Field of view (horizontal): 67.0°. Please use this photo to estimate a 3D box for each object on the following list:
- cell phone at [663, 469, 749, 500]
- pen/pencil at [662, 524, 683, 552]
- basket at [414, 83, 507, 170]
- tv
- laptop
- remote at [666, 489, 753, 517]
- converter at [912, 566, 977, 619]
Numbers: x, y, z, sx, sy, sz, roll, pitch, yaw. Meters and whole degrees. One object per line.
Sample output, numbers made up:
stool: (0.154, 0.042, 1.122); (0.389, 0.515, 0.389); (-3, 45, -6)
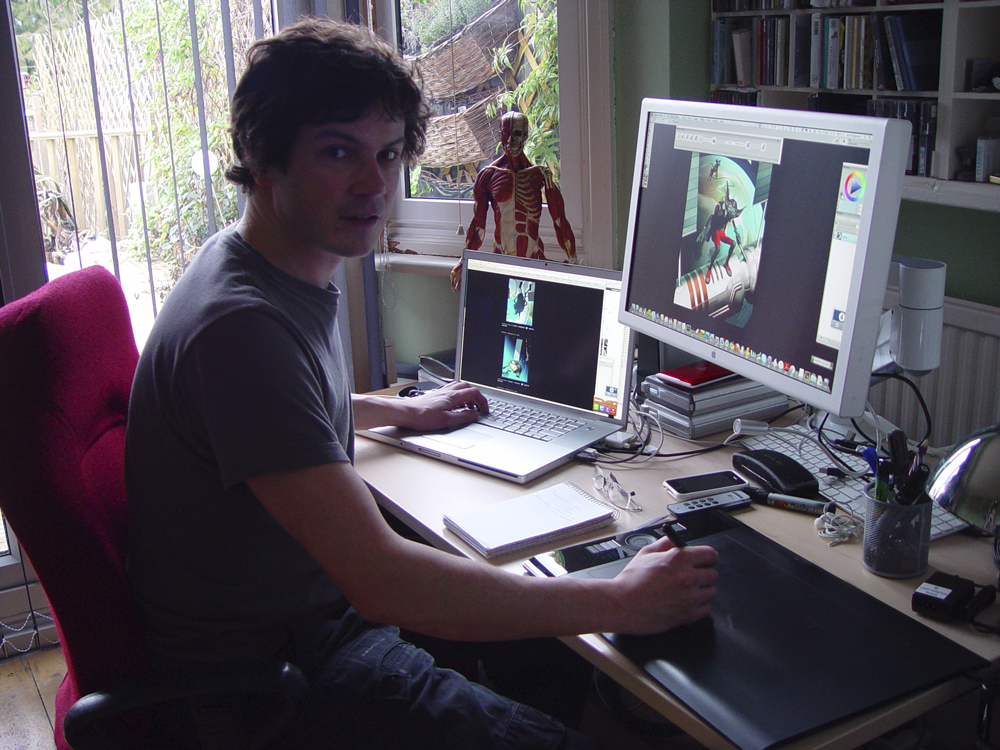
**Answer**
cell phone: (0.376, 0.197, 1.377); (0.108, 0.016, 0.058); (-7, 18, -14)
pen/pencil: (0.262, 0.240, 1.132); (0.018, 0.063, 0.017); (-6, 47, 28)
basket: (-0.144, -0.941, 2.730); (0.326, 0.138, 0.261); (2, -5, 12)
tv: (0.441, -0.249, 1.371); (0.115, 0.460, 0.603); (-13, 24, -23)
laptop: (-0.009, -0.047, 1.577); (0.467, 0.354, 0.389); (11, 18, 39)
remote: (0.366, 0.222, 1.316); (0.124, 0.023, 0.056); (-11, 18, -8)
converter: (0.623, 0.306, 1.056); (0.071, 0.042, 0.096); (9, 15, 35)
